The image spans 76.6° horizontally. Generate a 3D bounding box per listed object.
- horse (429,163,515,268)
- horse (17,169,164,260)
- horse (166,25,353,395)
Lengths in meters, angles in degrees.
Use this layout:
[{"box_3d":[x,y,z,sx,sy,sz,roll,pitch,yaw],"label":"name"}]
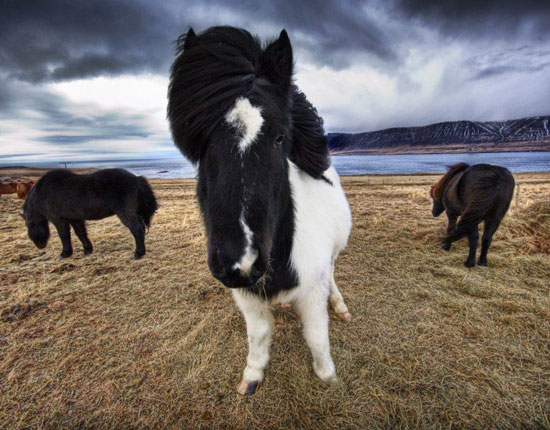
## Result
[{"box_3d":[4.260,-0.103,7.785,0.816,2.034,3.422,8,3,12],"label":"horse"},{"box_3d":[-3.893,-0.036,7.371,2.461,1.825,0.716,-2,14,4],"label":"horse"},{"box_3d":[-0.128,0.023,4.420,1.987,4.626,1.235,-8,15,-21],"label":"horse"}]
